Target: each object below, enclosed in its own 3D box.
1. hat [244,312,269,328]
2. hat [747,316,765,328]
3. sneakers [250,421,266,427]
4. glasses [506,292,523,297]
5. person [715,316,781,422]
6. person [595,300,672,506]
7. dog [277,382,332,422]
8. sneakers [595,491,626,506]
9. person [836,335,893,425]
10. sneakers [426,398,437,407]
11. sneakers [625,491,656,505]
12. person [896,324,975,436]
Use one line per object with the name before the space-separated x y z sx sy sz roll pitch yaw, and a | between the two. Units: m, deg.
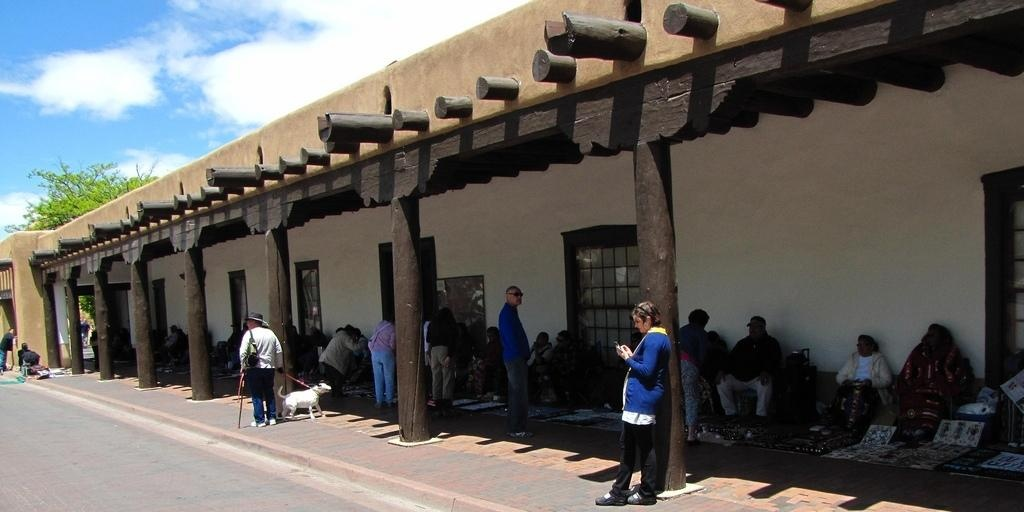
hat | -6.253 1.537 18.540 0.681 0.255 0.772 6 -2 -44
hat | 5.292 1.410 16.569 0.336 0.151 0.229 14 -13 -13
sneakers | -5.973 3.976 18.135 0.369 0.140 0.143 2 -1 41
glasses | 0.086 0.788 16.114 0.267 0.126 0.155 -7 9 -23
person | 5.109 2.404 16.505 1.278 2.117 0.606 -2 11 14
person | 2.198 2.525 13.133 1.366 3.435 0.677 -12 13 -34
dog | -4.998 3.481 18.654 1.361 0.883 0.439 -10 -10 0
sneakers | 1.718 4.212 13.260 0.504 0.179 0.217 3 -3 7
person | 7.100 2.530 15.575 1.077 1.787 0.738 -9 11 -23
sneakers | -1.942 3.607 18.807 0.185 0.190 0.533 3 -11 -35
sneakers | 2.219 4.181 13.219 0.487 0.217 0.205 2 -2 10
person | 8.207 2.461 15.033 1.419 2.178 0.680 -5 11 -7
